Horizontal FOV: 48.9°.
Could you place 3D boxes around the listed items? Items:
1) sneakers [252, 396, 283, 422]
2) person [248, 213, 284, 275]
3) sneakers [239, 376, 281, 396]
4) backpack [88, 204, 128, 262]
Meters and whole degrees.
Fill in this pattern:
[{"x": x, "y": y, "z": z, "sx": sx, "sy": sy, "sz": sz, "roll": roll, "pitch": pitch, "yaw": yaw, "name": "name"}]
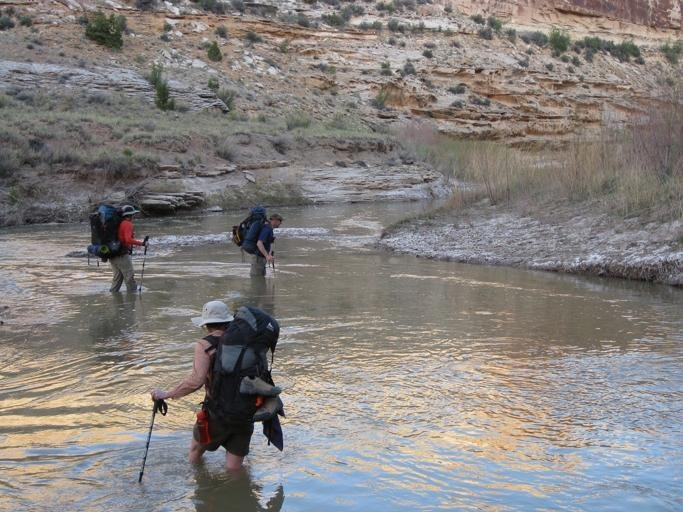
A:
[{"x": -0.689, "y": 1.445, "z": 7.186, "sx": 0.301, "sy": 0.078, "sz": 0.272, "roll": -18, "pitch": -28, "yaw": 8, "name": "sneakers"}, {"x": -1.532, "y": -0.206, "z": 14.322, "sx": 0.692, "sy": 1.245, "sz": 2.072, "roll": -1, "pitch": 11, "yaw": -6, "name": "person"}, {"x": -0.785, "y": 1.226, "z": 7.049, "sx": 0.302, "sy": 0.087, "sz": 0.208, "roll": 2, "pitch": -4, "yaw": 0, "name": "sneakers"}, {"x": -4.014, "y": -0.348, "z": 12.703, "sx": 0.499, "sy": 0.978, "sz": 0.578, "roll": -11, "pitch": 18, "yaw": -42, "name": "backpack"}]
